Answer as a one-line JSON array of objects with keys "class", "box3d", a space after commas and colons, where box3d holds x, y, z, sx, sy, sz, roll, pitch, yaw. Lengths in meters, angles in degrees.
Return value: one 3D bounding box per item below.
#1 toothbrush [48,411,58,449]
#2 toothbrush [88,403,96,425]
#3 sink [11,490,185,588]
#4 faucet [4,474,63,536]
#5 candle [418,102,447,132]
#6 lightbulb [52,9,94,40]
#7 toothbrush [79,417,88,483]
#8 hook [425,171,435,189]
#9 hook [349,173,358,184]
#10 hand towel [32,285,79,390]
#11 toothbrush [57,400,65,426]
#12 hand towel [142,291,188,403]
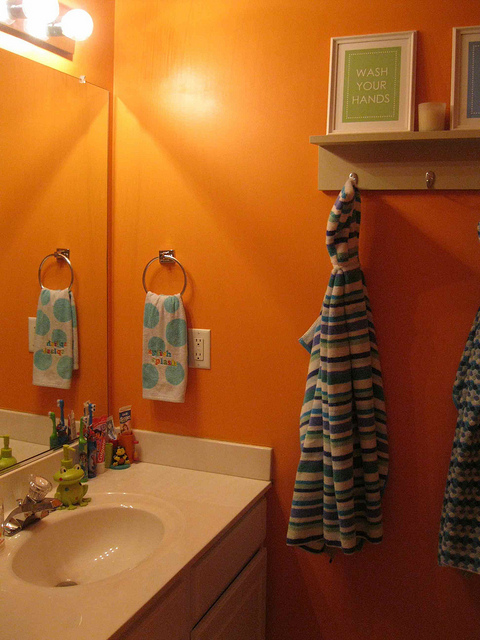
[{"class": "toothbrush", "box3d": [-0.520, 0.309, 1.500, 0.010, 0.106, 0.038, 1, 4, 15]}, {"class": "toothbrush", "box3d": [-0.439, 0.278, 1.587, 0.014, 0.052, 0.040, -1, 4, -5]}, {"class": "sink", "box3d": [-0.313, 0.526, 1.276, 0.362, 0.109, 0.340, -1, 5, -10]}, {"class": "faucet", "box3d": [-0.482, 0.413, 1.240, 0.085, 0.090, 0.102, 11, 16, 1]}, {"class": "candle", "box3d": [0.446, -0.466, 1.243, 0.054, 0.074, 0.066, 0, -3, 3]}, {"class": "lightbulb", "box3d": [-0.457, -0.795, 1.455, 0.084, 0.055, 0.049, -5, -22, 4]}, {"class": "toothbrush", "box3d": [-0.456, 0.375, 1.559, 0.027, 0.196, 0.027, 11, -28, -40]}, {"class": "hook", "box3d": [0.471, -0.345, 1.333, 0.022, 0.041, 0.010, 2, 4, 25]}, {"class": "hook", "box3d": [0.293, -0.359, 1.377, 0.005, 0.024, 0.021, -8, -2, 0]}, {"class": "hand towel", "box3d": [-0.519, 0.058, 1.509, 0.027, 0.292, 0.186, 1, 4, 13]}, {"class": "toothbrush", "box3d": [-0.506, 0.268, 1.527, 0.021, 0.077, 0.015, -4, 5, -44]}, {"class": "hand towel", "box3d": [-0.230, 0.094, 1.643, 0.142, 0.378, 0.043, 5, -34, -13]}]
